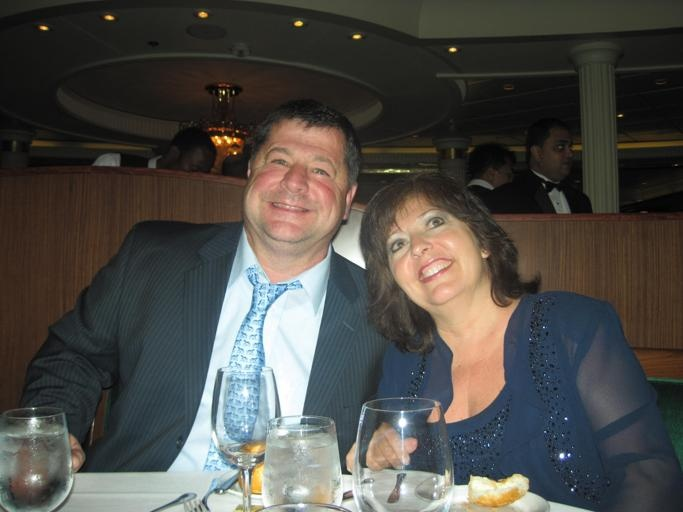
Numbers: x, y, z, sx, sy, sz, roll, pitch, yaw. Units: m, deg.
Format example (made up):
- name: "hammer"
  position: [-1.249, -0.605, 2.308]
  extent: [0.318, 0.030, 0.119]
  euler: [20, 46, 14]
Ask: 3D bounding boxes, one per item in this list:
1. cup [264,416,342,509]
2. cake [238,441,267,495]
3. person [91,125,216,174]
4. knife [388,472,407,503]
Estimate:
- name: "cup"
  position: [-0.083, 0.446, 1.260]
  extent: [0.155, 0.178, 0.134]
  euler: [5, -8, -24]
- name: "cake"
  position: [-0.217, 0.510, 1.402]
  extent: [0.055, 0.146, 0.206]
  euler: [3, -8, -9]
- name: "person"
  position: [-1.596, -0.967, 5.472]
  extent: [1.238, 0.489, 0.984]
  euler: [5, 14, 18]
- name: "knife"
  position: [0.113, 0.469, 1.169]
  extent: [0.023, 0.063, 0.017]
  euler: [12, -24, 19]
